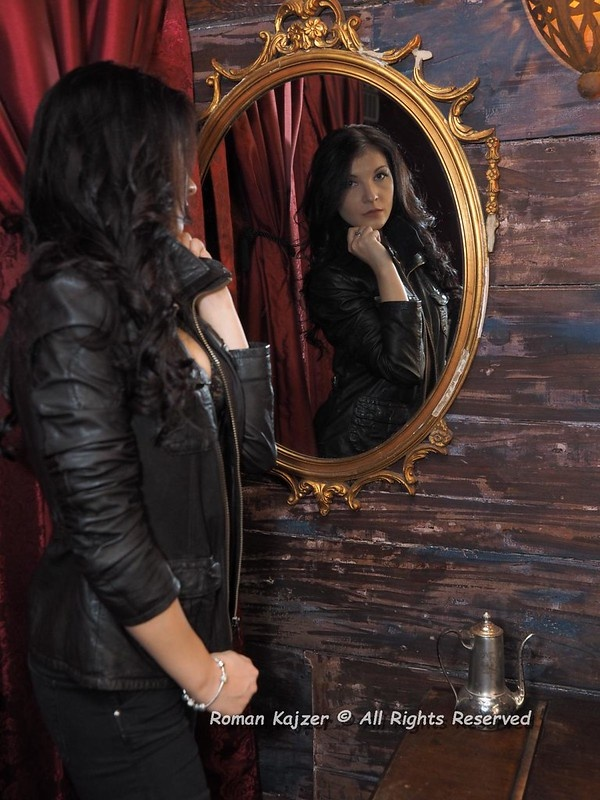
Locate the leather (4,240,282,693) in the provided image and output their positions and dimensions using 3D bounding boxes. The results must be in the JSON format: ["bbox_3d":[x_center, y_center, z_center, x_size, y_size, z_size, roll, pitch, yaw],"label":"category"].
[{"bbox_3d":[-0.169,0.075,0.967,0.378,0.532,0.303,-7,8,-23],"label":"leather"}]

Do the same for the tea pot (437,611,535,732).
[{"bbox_3d":[0.319,0.459,1.282,0.120,0.169,0.109,-2,8,10],"label":"tea pot"}]

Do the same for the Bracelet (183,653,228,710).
[{"bbox_3d":[-0.112,0.340,0.895,0.063,0.062,0.016,-7,23,-36],"label":"Bracelet"}]
